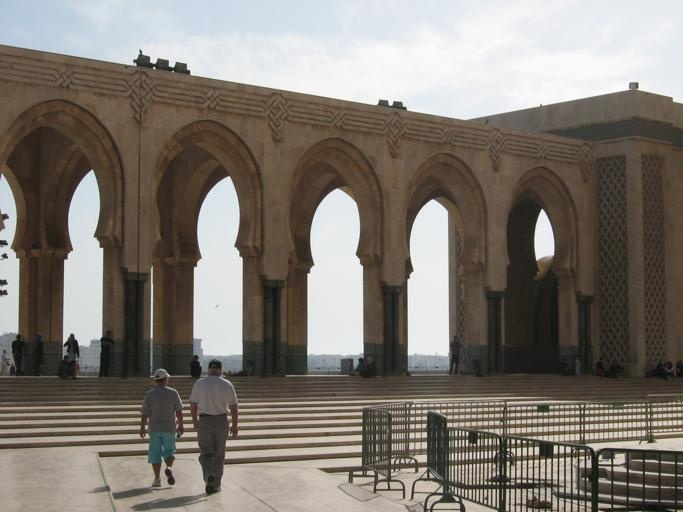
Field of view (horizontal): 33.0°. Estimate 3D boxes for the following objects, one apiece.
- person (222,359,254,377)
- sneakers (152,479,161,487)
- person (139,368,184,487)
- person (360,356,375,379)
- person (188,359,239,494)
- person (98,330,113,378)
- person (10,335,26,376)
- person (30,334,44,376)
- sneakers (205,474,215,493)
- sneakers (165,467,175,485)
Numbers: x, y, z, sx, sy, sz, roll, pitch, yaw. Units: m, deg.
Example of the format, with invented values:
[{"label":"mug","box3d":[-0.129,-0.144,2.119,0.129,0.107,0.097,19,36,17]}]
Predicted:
[{"label":"person","box3d":[-2.497,2.888,29.133,1.075,0.435,0.364,-8,-13,4]},{"label":"sneakers","box3d":[-2.910,3.577,18.186,0.138,0.131,0.219,0,-8,-6]},{"label":"person","box3d":[-2.904,2.777,18.695,0.654,1.853,1.175,0,-8,-9]},{"label":"person","box3d":[0.722,2.872,30.269,0.403,0.591,1.026,-1,-8,3]},{"label":"person","box3d":[-1.997,2.661,18.064,0.722,2.086,0.390,0,-8,-6]},{"label":"person","box3d":[-5.559,2.282,27.328,0.320,1.132,0.568,1,-8,-12]},{"label":"person","box3d":[-8.376,2.545,29.892,0.317,1.050,0.762,1,-8,-15]},{"label":"person","box3d":[-7.942,2.566,30.133,0.263,1.032,0.356,0,-8,-4]},{"label":"sneakers","box3d":[-2.032,3.551,17.983,0.117,0.276,0.115,2,4,-12]},{"label":"sneakers","box3d":[-2.670,3.452,18.204,0.131,0.305,0.127,-16,4,-25]}]
